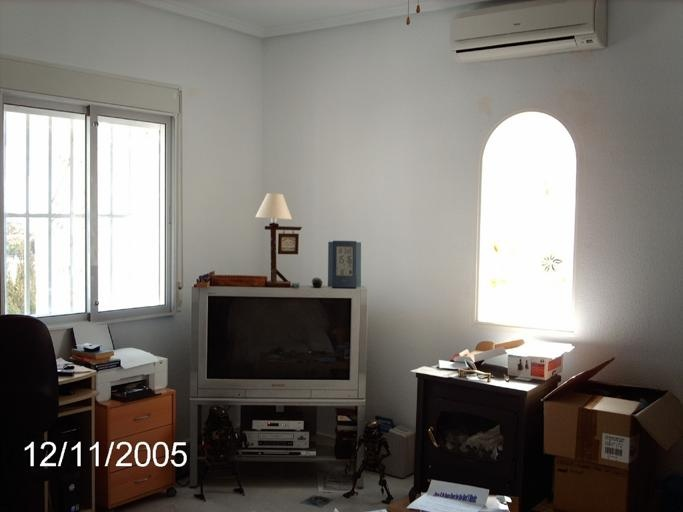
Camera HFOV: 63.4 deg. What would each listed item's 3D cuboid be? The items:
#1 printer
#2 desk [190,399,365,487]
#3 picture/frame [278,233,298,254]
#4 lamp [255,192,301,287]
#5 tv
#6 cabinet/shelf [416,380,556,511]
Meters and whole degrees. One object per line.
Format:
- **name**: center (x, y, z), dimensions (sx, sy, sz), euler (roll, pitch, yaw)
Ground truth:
- **printer**: center (-1.576, 0.729, 3.906), dimensions (0.524, 0.501, 0.514), euler (-1, 1, 35)
- **desk**: center (-0.471, 1.328, 4.212), dimensions (1.303, 0.714, 0.453), euler (2, 7, -8)
- **picture/frame**: center (-0.396, -0.092, 4.100), dimensions (0.139, 0.152, 0.019), euler (1, -3, -1)
- **lamp**: center (-0.477, -0.144, 4.350), dimensions (0.341, 0.754, 0.936), euler (-2, 3, -6)
- **tv**: center (-0.471, 0.627, 3.971), dimensions (1.280, 0.945, 0.774), euler (0, -1, 1)
- **cabinet/shelf**: center (0.894, 0.989, 3.784), dimensions (0.979, 1.026, 0.705), euler (-1, -3, 35)
